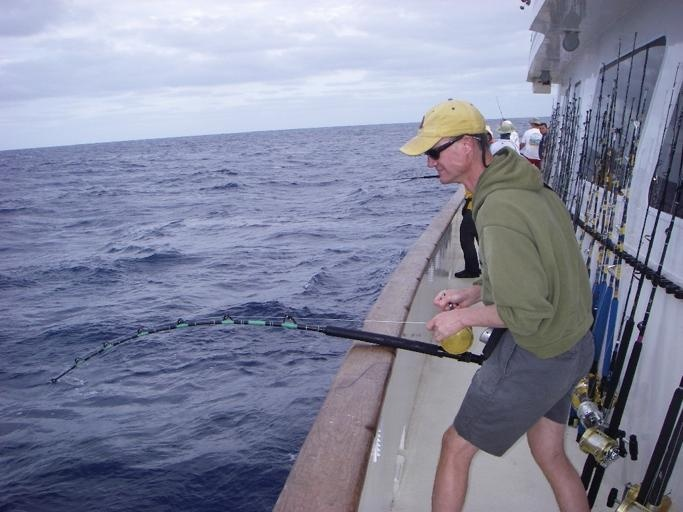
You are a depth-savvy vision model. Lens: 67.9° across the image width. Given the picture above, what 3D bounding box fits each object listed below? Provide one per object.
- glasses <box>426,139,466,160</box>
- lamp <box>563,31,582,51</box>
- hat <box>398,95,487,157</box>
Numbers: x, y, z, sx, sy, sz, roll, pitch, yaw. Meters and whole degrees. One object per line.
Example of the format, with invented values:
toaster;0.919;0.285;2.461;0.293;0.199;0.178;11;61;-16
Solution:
glasses;0.470;-0.479;2.286;0.130;0.029;0.097;-23;-1;2
lamp;2.315;-2.189;5.170;0.191;0.185;0.031;-4;47;1
hat;0.396;-0.624;2.326;0.509;0.202;0.268;-21;40;-21
